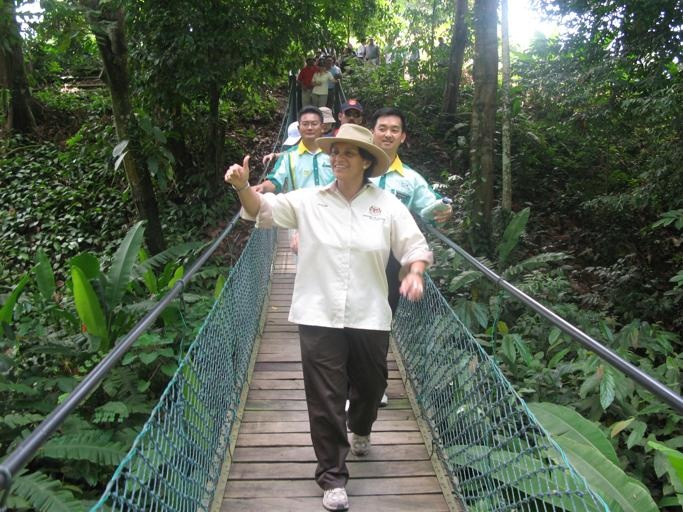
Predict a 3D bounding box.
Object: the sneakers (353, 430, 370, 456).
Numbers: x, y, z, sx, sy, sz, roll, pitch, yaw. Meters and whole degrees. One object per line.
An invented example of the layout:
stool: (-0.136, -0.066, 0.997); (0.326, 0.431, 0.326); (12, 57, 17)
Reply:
sneakers: (0.126, 1.235, 3.248); (0.071, 0.090, 0.204); (1, 15, 1)

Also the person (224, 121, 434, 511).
person: (0.018, 0.319, 2.988); (0.824, 2.107, 0.953); (-15, 25, -37)
